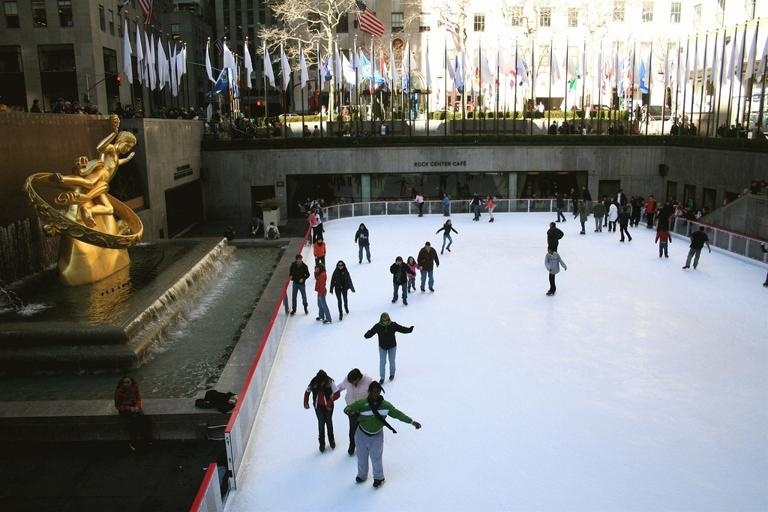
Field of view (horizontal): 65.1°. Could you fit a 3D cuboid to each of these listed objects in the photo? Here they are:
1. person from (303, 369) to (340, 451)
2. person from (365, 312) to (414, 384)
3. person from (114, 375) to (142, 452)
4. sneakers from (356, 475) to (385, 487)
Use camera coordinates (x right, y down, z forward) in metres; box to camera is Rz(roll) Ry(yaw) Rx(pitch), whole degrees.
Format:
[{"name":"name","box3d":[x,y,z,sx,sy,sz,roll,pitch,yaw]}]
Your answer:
[{"name":"person","box3d":[-1.470,3.578,14.032,0.678,1.979,0.679,-3,13,-6]},{"name":"person","box3d":[0.016,2.390,16.190,0.945,2.027,1.118,-2,13,-3]},{"name":"person","box3d":[-6.276,3.890,15.025,0.679,1.814,0.507,9,17,38]},{"name":"sneakers","box3d":[-0.303,4.936,13.262,0.598,0.274,0.228,2,25,5]}]
